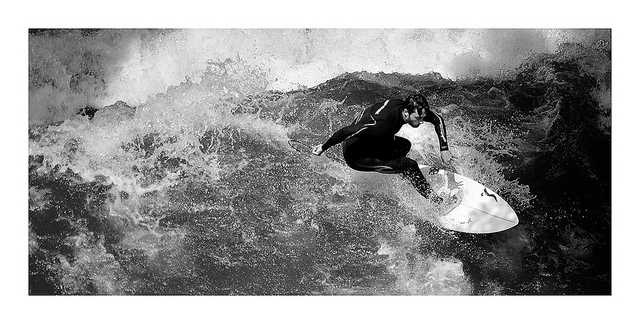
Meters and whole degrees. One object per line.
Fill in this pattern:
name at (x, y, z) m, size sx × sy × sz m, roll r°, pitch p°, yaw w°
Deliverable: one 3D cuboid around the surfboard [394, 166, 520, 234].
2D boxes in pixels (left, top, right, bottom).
surfboard at (2.001, 0.542, 9.225) m, size 2.714 × 0.832 × 0.255 m, roll 21°, pitch 20°, yaw -36°
